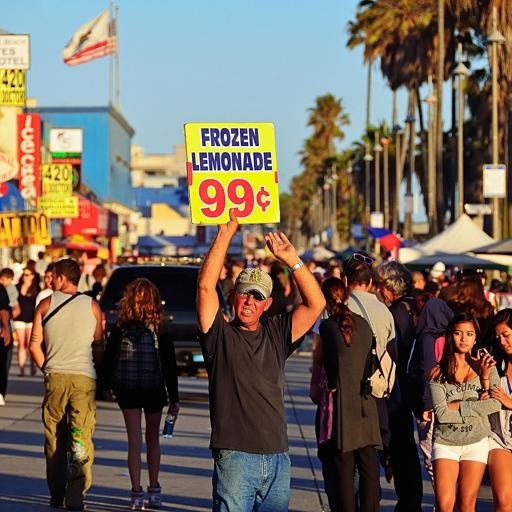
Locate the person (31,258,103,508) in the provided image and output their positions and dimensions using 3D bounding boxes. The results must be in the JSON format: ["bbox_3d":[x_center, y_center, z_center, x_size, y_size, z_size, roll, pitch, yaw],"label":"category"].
[{"bbox_3d":[-1.727,1.185,12.817,0.614,2.294,0.403,-1,-1,23],"label":"person"}]

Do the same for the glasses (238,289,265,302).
[{"bbox_3d":[-0.016,0.291,10.283,0.090,0.029,0.102,6,-31,47],"label":"glasses"}]

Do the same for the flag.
[{"bbox_3d":[-6.234,-8.267,53.062,1.904,2.140,2.175,-1,-1,-7],"label":"flag"}]

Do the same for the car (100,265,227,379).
[{"bbox_3d":[-1.241,0.841,18.127,0.920,1.163,1.940,0,3,-3],"label":"car"}]

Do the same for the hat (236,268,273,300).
[{"bbox_3d":[0.007,0.223,10.423,0.235,0.232,0.439,11,-5,0],"label":"hat"}]

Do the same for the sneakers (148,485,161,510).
[{"bbox_3d":[-0.923,2.228,12.746,0.107,0.192,0.384,0,-12,-3],"label":"sneakers"}]

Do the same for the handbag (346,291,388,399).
[{"bbox_3d":[0.939,0.853,11.660,0.319,0.561,0.550,-3,-29,10],"label":"handbag"}]

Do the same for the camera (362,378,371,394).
[{"bbox_3d":[0.915,1.086,11.493,0.066,0.121,0.029,5,-3,43],"label":"camera"}]

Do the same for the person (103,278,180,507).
[{"bbox_3d":[-1.059,1.269,12.773,0.683,2.109,0.512,-1,-1,-9],"label":"person"}]

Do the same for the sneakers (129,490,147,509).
[{"bbox_3d":[-1.065,2.242,12.697,0.114,0.201,0.399,1,-4,-4],"label":"sneakers"}]

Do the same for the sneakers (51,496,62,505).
[{"bbox_3d":[-1.819,2.258,12.780,0.073,0.087,0.128,2,-6,-31],"label":"sneakers"}]

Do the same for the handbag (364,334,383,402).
[{"bbox_3d":[0.977,0.967,11.603,0.154,0.457,0.283,-4,7,14],"label":"handbag"}]

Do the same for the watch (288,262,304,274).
[{"bbox_3d":[0.302,0.088,10.385,0.094,0.074,0.109,-25,-5,-17],"label":"watch"}]
